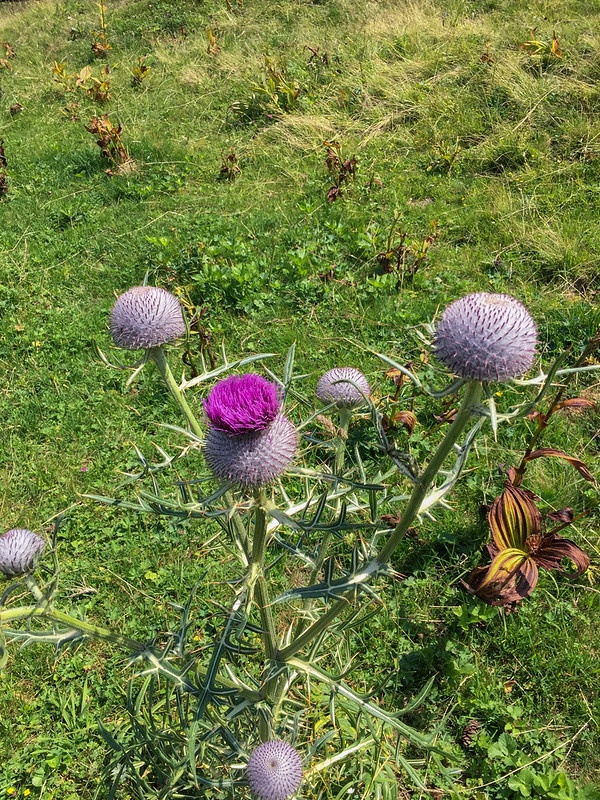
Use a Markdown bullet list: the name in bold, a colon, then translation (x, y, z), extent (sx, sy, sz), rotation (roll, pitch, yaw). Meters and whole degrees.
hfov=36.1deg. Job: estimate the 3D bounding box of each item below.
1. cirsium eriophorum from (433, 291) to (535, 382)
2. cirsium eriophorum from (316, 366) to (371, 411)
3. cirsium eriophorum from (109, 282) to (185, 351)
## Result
- **cirsium eriophorum**: translation (0.794, -0.284, 3.965), extent (0.443, 0.230, 0.389), rotation (-11, 39, -15)
- **cirsium eriophorum**: translation (0.205, -0.070, 4.474), extent (0.249, 0.199, 0.176), rotation (25, 36, -39)
- **cirsium eriophorum**: translation (-0.752, -0.399, 4.493), extent (0.367, 0.217, 0.349), rotation (-27, 13, -20)
